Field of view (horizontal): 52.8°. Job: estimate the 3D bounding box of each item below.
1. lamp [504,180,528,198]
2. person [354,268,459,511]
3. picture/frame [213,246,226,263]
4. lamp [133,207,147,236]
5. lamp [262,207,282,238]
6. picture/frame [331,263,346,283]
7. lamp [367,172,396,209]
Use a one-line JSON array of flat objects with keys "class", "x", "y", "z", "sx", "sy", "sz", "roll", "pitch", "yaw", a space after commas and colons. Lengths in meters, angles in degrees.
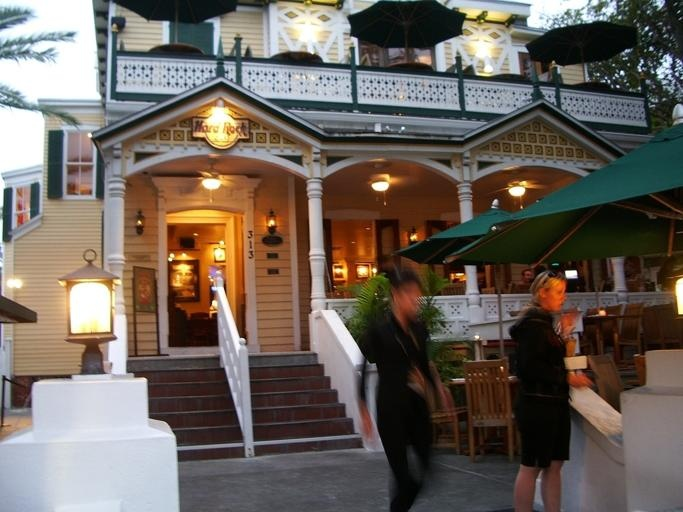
[{"class": "lamp", "x": 3.925, "y": -1.594, "z": 15.514, "sx": 0.503, "sy": 0.162, "sz": 0.474, "roll": 2, "pitch": -9, "yaw": -11}, {"class": "person", "x": 0.481, "y": 1.002, "z": 5.295, "sx": 0.667, "sy": 1.819, "sz": 0.334, "roll": -2, "pitch": -6, "yaw": 6}, {"class": "picture/frame", "x": -3.633, "y": -0.054, "z": 20.614, "sx": 0.531, "sy": 0.519, "sz": 0.078, "roll": -2, "pitch": -8, "yaw": 12}, {"class": "lamp", "x": -4.213, "y": -0.722, "z": 14.441, "sx": 0.190, "sy": 0.553, "sz": 0.283, "roll": 0, "pitch": -6, "yaw": -16}, {"class": "lamp", "x": -1.495, "y": -0.736, "z": 15.203, "sx": 0.346, "sy": 0.619, "sz": 0.280, "roll": 0, "pitch": -6, "yaw": -10}, {"class": "picture/frame", "x": -0.059, "y": 0.455, "z": 19.383, "sx": 0.286, "sy": 0.605, "sz": 0.792, "roll": -3, "pitch": -5, "yaw": 16}, {"class": "lamp", "x": 0.914, "y": -1.614, "z": 14.779, "sx": 0.453, "sy": 0.585, "sz": 0.454, "roll": 7, "pitch": -15, "yaw": -36}]
